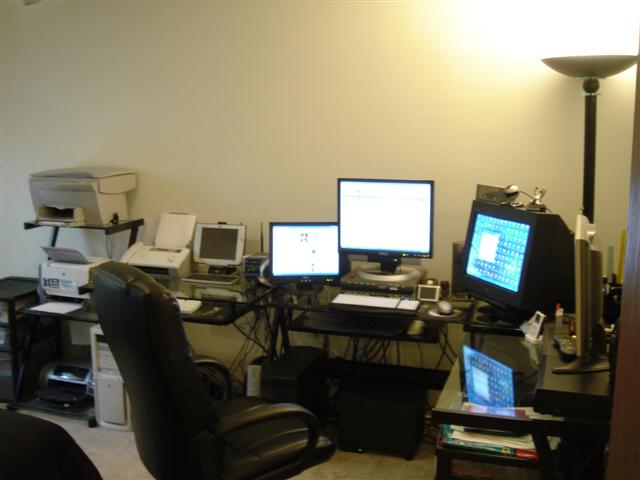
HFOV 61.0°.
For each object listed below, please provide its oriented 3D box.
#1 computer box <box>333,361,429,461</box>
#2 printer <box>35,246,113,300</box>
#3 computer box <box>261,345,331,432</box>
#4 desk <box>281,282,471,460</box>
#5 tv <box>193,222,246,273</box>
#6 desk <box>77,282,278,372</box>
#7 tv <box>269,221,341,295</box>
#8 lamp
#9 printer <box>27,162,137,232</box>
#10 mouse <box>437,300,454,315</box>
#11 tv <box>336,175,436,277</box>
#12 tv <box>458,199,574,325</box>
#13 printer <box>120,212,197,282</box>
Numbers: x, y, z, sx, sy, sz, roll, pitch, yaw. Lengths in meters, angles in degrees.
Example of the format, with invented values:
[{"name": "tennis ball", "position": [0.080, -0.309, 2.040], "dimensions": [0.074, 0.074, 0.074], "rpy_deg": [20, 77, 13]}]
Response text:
[{"name": "computer box", "position": [0.346, 1.001, 3.170], "dimensions": [0.436, 0.353, 0.440], "rpy_deg": [4, 10, 20]}, {"name": "printer", "position": [-1.657, 0.224, 3.776], "dimensions": [0.427, 0.376, 0.416], "rpy_deg": [4, 10, 13]}, {"name": "computer box", "position": [-0.131, 0.797, 2.939], "dimensions": [0.288, 0.445, 0.513], "rpy_deg": [5, 9, 27]}, {"name": "desk", "position": [0.344, 0.829, 3.338], "dimensions": [1.078, 0.793, 0.905], "rpy_deg": [3, 6, 18]}, {"name": "tv", "position": [-0.661, 0.046, 3.605], "dimensions": [0.326, 0.304, 0.056], "rpy_deg": [2, -4, 9]}, {"name": "desk", "position": [-0.692, 0.438, 2.807], "dimensions": [0.680, 0.326, 0.443], "rpy_deg": [4, 9, 18]}, {"name": "tv", "position": [-0.088, 0.098, 3.286], "dimensions": [0.429, 0.353, 0.153], "rpy_deg": [1, -2, -2]}, {"name": "lamp", "position": [1.426, -0.529, 2.935], "dimensions": [0.427, 0.862, 0.465], "rpy_deg": [3, 3, 28]}, {"name": "printer", "position": [-1.603, -0.321, 3.679], "dimensions": [0.557, 0.343, 0.448], "rpy_deg": [3, 7, 17]}, {"name": "mouse", "position": [0.654, 0.352, 2.884], "dimensions": [0.067, 0.018, 0.066], "rpy_deg": [-29, 38, -34]}, {"name": "tv", "position": [0.380, -0.089, 3.185], "dimensions": [0.602, 0.577, 0.192], "rpy_deg": [2, 5, 14]}, {"name": "tv", "position": [0.975, 0.080, 2.902], "dimensions": [0.600, 0.588, 0.565], "rpy_deg": [-2, 6, -25]}, {"name": "printer", "position": [-1.022, 0.033, 3.701], "dimensions": [0.441, 0.355, 0.462], "rpy_deg": [9, 26, 18]}]
